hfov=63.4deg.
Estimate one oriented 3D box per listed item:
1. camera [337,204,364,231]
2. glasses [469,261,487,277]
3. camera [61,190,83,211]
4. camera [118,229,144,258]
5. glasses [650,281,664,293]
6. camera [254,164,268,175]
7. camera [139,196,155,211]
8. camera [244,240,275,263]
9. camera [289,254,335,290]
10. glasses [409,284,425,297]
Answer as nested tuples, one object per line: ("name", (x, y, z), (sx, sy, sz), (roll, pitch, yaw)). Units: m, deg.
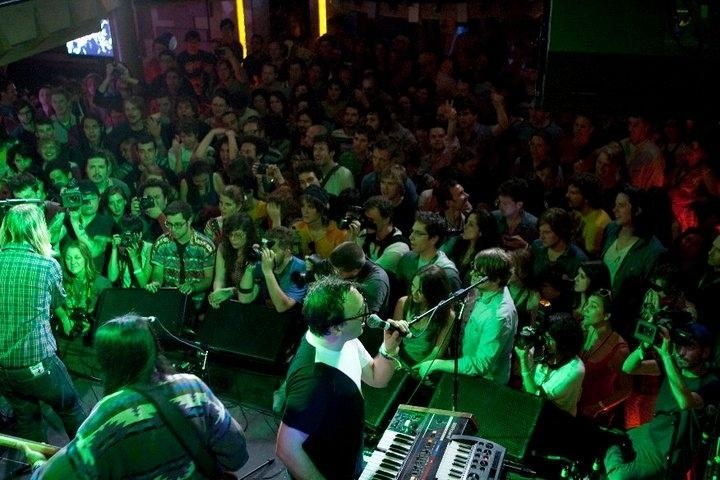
("camera", (-0.083, -0.219, 5.584), (0.186, 0.252, 0.107), (8, -12, 33))
("glasses", (0.993, 0.252, 4.939), (0.117, 0.035, 0.114), (9, 11, -11))
("camera", (-3.243, -0.452, 6.600), (0.227, 0.236, 0.230), (-3, 9, -8))
("camera", (-2.444, 0.043, 6.322), (0.232, 0.234, 0.237), (2, 22, -4))
("glasses", (2.397, 0.386, 4.719), (0.020, 0.076, 0.078), (-6, 15, -39))
("camera", (-1.049, -0.756, 6.220), (0.121, 0.118, 0.033), (7, -2, 16))
("camera", (-2.370, -0.416, 6.517), (0.144, 0.154, 0.141), (3, 13, 22))
("camera", (-0.934, 0.130, 5.451), (0.269, 0.197, 0.099), (-32, -29, 21))
("camera", (-0.426, 0.275, 5.353), (0.354, 0.359, 0.149), (-28, -2, 18))
("glasses", (0.471, 0.425, 4.907), (0.040, 0.076, 0.094), (27, 44, 2))
